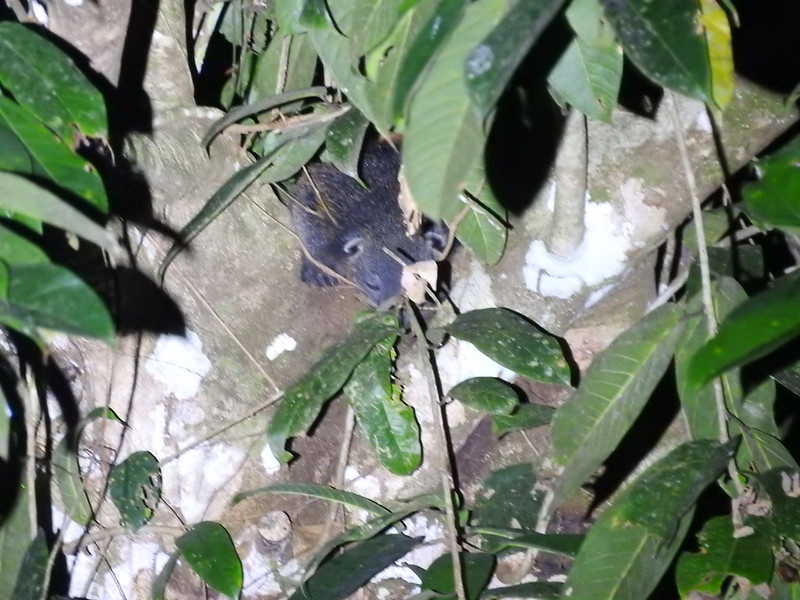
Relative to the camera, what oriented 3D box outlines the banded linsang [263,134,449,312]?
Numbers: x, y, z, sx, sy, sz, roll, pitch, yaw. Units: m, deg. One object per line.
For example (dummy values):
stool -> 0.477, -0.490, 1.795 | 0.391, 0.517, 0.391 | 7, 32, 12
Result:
banded linsang -> -0.072, -0.174, 2.298 | 0.340, 0.349, 0.148 | -11, -28, 3
